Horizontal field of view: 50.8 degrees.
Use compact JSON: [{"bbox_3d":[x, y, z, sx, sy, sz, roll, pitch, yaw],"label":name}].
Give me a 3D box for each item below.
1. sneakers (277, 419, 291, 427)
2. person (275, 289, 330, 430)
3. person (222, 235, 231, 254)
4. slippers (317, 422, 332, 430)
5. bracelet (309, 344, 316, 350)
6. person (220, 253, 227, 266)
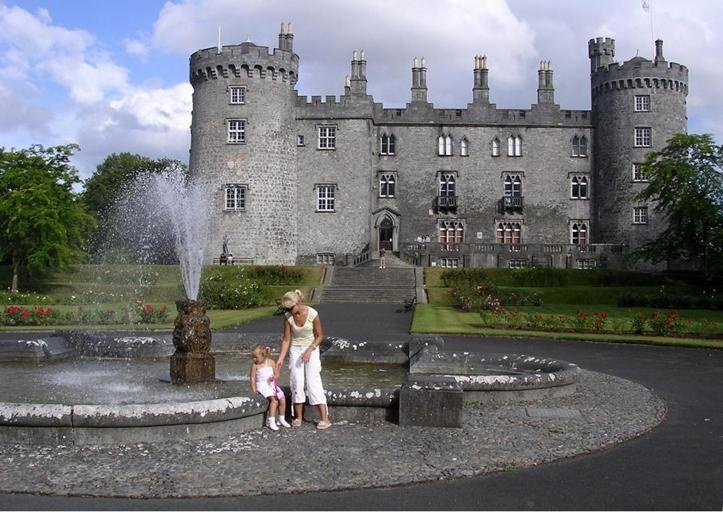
[{"bbox_3d":[-1.296,2.731,12.565,0.258,0.144,0.090,5,7,28],"label":"sneakers"},{"bbox_3d":[-0.964,1.673,12.584,1.004,2.198,0.584,9,14,34],"label":"person"},{"bbox_3d":[-7.878,-0.717,44.087,0.696,1.116,0.309,6,-7,-12],"label":"person"},{"bbox_3d":[-0.630,2.748,12.530,0.256,0.108,0.166,-3,11,-18],"label":"slippers"},{"bbox_3d":[-0.812,1.468,12.556,0.041,0.105,0.109,9,14,36],"label":"bracelet"},{"bbox_3d":[-7.966,0.123,43.536,0.594,0.732,0.528,-1,4,1],"label":"person"}]
